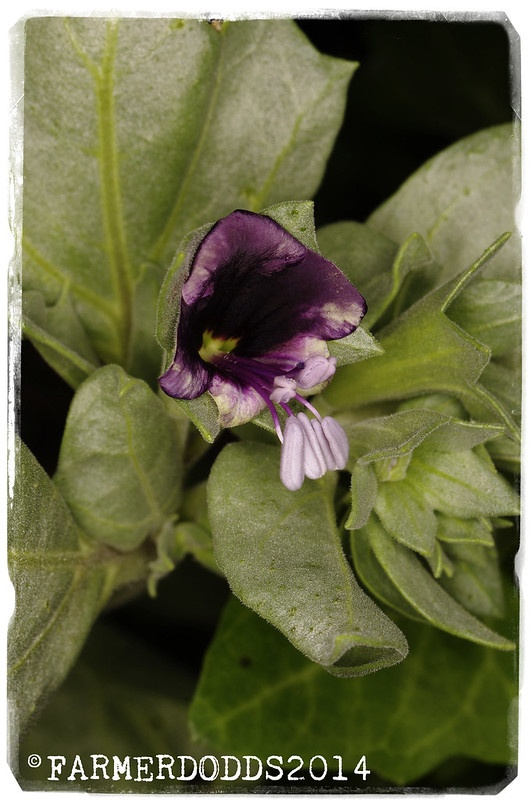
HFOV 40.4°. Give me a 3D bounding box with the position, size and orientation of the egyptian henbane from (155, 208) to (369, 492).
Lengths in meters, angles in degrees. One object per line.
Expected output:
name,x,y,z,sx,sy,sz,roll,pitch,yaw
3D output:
egyptian henbane,0.012,-0.066,0.830,0.251,0.286,0.147,-12,58,18
